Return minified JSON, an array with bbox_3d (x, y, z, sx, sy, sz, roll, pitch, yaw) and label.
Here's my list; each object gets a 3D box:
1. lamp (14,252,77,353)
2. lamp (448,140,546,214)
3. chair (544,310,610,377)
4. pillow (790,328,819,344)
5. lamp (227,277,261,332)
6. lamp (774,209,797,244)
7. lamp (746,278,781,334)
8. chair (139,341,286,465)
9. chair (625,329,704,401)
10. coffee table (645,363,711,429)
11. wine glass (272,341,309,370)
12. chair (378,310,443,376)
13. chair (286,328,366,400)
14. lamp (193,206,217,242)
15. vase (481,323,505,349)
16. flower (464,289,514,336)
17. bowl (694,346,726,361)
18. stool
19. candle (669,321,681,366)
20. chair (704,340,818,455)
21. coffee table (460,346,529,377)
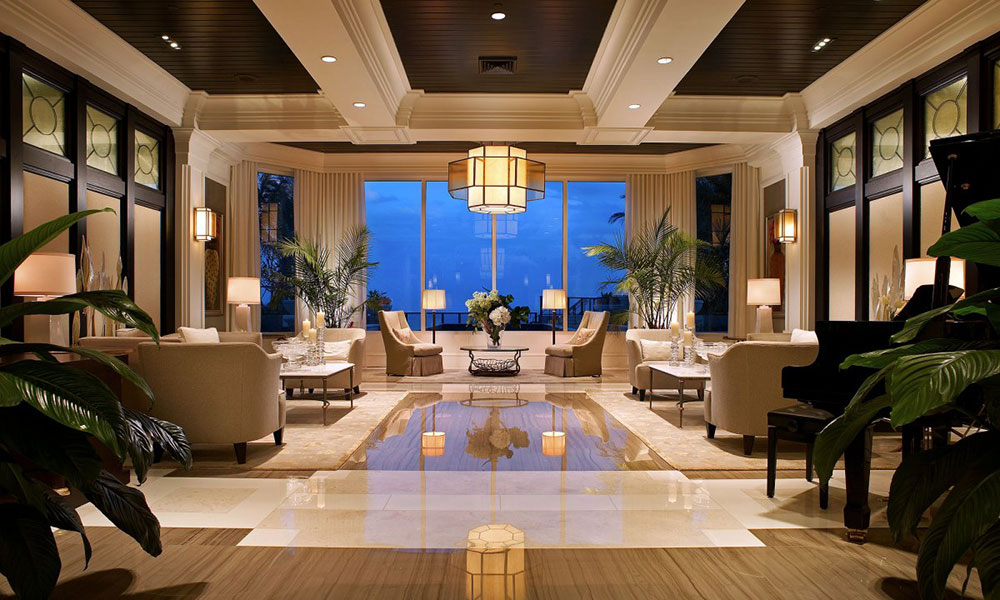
[{"bbox_3d":[-4.120,0.013,5.651,0.435,0.883,0.799,-5,8,-37],"label":"lamp"},{"bbox_3d":[-0.020,-1.651,8.767,1.409,0.728,1.284,2,-3,-27],"label":"lamp"},{"bbox_3d":[1.267,0.708,10.161,1.040,0.955,0.910,-5,3,-37],"label":"chair"},{"bbox_3d":[3.321,0.398,6.785,0.409,0.129,0.392,-2,12,22],"label":"pillow"},{"bbox_3d":[-3.692,0.037,9.015,0.403,0.770,1.283,-3,6,-23],"label":"lamp"},{"bbox_3d":[4.062,-1.040,8.773,0.233,0.481,0.285,2,7,15],"label":"lamp"},{"bbox_3d":[3.717,0.105,8.782,0.406,0.811,1.514,3,6,22],"label":"lamp"},{"bbox_3d":[-2.392,0.779,5.733,1.367,1.074,1.176,0,-2,10],"label":"chair"},{"bbox_3d":[2.202,0.804,8.269,1.064,0.795,0.920,-1,3,-12],"label":"chair"},{"bbox_3d":[2.001,1.082,6.783,0.645,0.459,1.036,2,-3,-1],"label":"coffee table"},{"bbox_3d":[-2.200,0.587,6.757,0.389,0.255,0.384,-4,-6,33],"label":"wine glass"},{"bbox_3d":[-1.456,0.692,10.234,0.962,0.965,0.763,4,4,28],"label":"chair"},{"bbox_3d":[-2.220,0.795,8.238,1.124,0.984,1.095,-8,-7,42],"label":"chair"},{"bbox_3d":[-4.127,-1.065,8.721,0.212,0.461,0.460,-1,6,-7],"label":"lamp"},{"bbox_3d":[-0.106,0.603,10.595,0.469,0.346,0.409,0,-4,-4],"label":"vase"},{"bbox_3d":[-0.191,0.202,10.493,0.785,0.770,0.831,0,-4,20],"label":"flower"},{"bbox_3d":[2.314,0.564,6.864,0.279,0.073,0.267,-1,-1,0],"label":"bowl"},{"bbox_3d":[2.272,1.161,4.774,0.420,0.474,0.514,-5,-25,20],"label":"stool"},{"bbox_3d":[2.081,0.488,7.290,0.092,0.481,0.222,3,8,22],"label":"candle"},{"bbox_3d":[2.544,0.894,5.944,1.098,1.047,1.118,1,1,-23],"label":"chair"},{"bbox_3d":[-0.077,0.956,10.653,0.989,0.569,1.824,0,5,0],"label":"coffee table"}]
